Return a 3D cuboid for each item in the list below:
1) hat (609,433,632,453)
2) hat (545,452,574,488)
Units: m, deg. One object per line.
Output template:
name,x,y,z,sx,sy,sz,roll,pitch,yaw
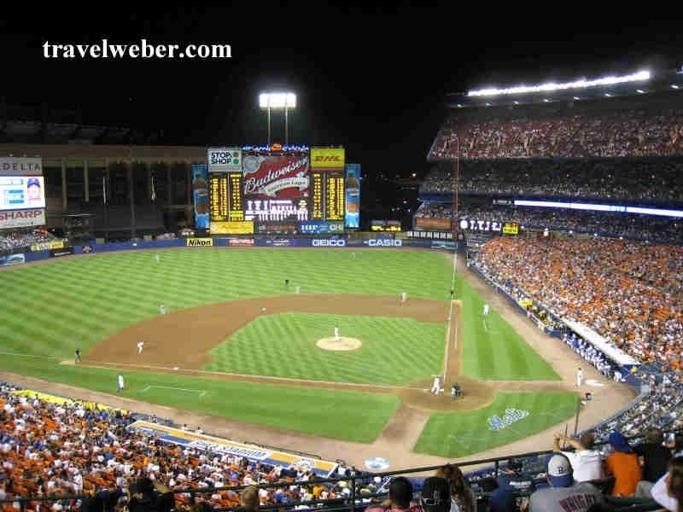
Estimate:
hat,6.137,4.150,13.064,0.375,0.171,0.508,-2,4,0
hat,4.326,4.342,11.650,0.538,0.633,0.577,5,14,21
